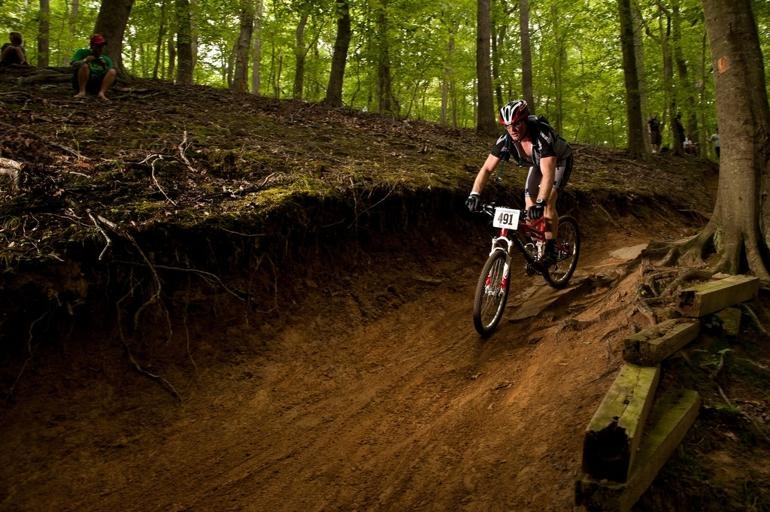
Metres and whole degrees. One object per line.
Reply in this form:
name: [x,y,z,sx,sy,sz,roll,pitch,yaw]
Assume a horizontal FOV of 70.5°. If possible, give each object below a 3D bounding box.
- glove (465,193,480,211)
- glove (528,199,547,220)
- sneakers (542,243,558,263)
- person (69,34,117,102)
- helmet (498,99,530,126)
glove: [1.326,-0.825,8.256,0.194,0.257,0.312,-2,3,7]
glove: [2.168,-0.663,7.803,0.293,0.267,0.218,-3,3,-9]
sneakers: [2.645,-0.059,8.797,0.305,0.263,0.133,6,-17,-42]
person: [-6.101,-3.889,11.281,0.919,1.227,0.954,4,7,-28]
helmet: [1.901,-2.128,8.045,0.435,0.411,0.327,-3,3,-12]
